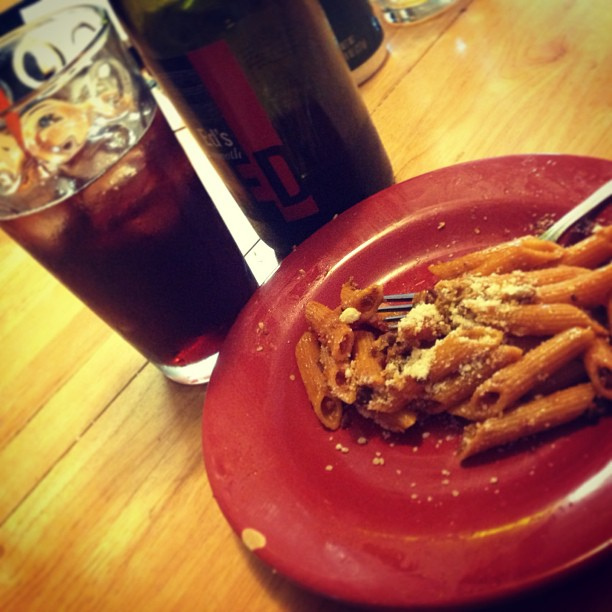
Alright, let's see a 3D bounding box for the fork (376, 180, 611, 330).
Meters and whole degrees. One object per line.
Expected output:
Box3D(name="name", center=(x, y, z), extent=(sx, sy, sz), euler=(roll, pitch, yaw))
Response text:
Box3D(name="fork", center=(0.322, -0.073, 1.050), extent=(0.410, 0.050, 0.048), euler=(-39, 51, 29))
